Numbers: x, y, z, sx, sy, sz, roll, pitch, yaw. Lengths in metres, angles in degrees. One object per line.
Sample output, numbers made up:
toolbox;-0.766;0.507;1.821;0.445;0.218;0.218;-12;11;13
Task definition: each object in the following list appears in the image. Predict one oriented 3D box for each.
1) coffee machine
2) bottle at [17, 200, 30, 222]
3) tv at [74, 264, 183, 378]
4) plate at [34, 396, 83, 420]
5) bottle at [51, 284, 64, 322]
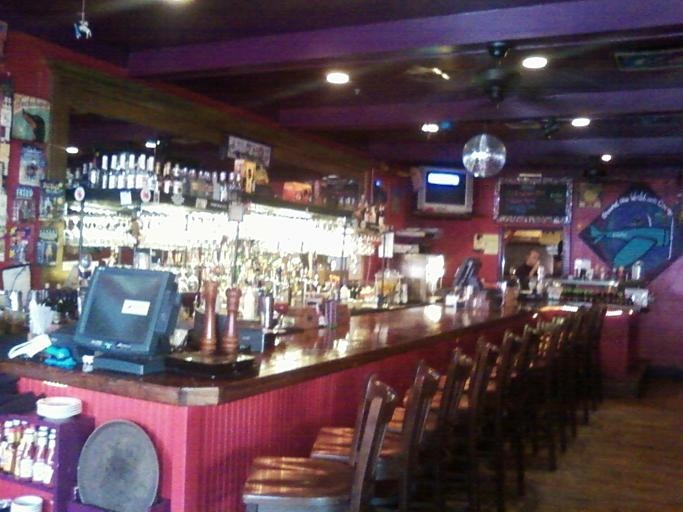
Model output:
coffee machine;0.977;0.087;7.648;0.534;0.903;0.540;4;2;24
bottle;-2.717;-0.377;5.288;0.016;0.150;0.112;4;1;32
tv;-1.078;0.332;3.209;0.544;0.524;0.295;2;1;21
plate;-1.475;0.792;3.211;0.210;0.092;0.135;3;1;-13
bottle;-1.854;0.325;4.019;0.088;0.199;0.461;3;1;-25
